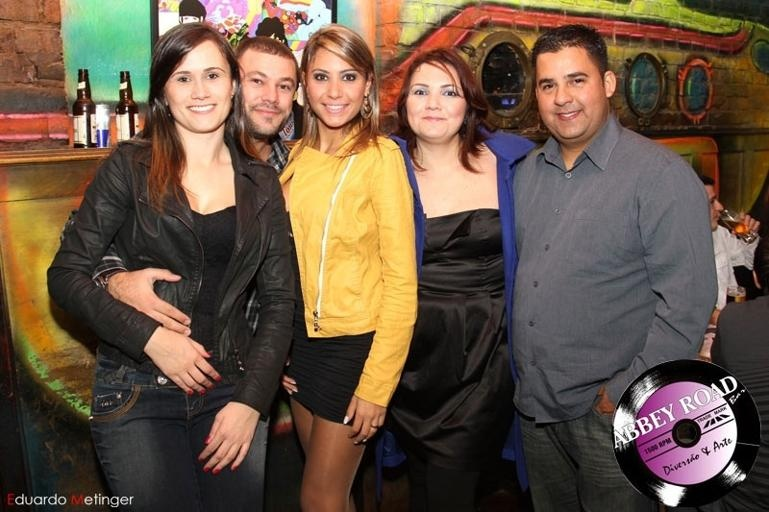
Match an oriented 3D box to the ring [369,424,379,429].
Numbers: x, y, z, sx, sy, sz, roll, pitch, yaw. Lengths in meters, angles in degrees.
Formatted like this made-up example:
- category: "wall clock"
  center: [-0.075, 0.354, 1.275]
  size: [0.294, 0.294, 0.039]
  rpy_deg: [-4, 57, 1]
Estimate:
- category: "ring"
  center: [-0.048, 0.704, 2.245]
  size: [0.026, 0.008, 0.026]
  rpy_deg: [0, 3, 0]
